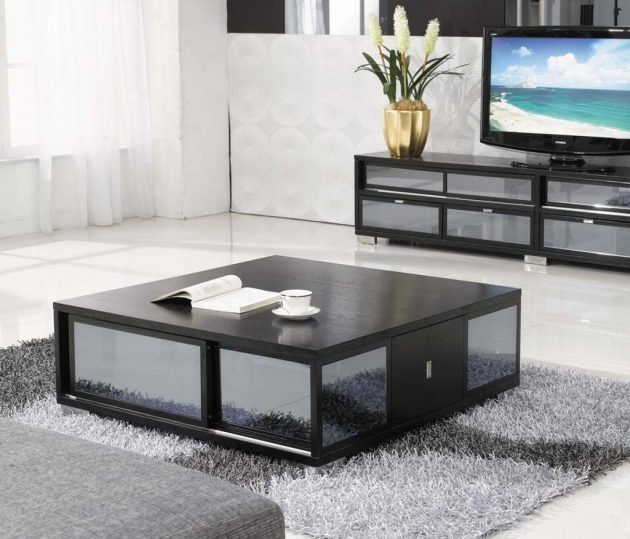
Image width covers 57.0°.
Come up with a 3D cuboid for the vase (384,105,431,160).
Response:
[{"bbox_3d":[0.824,-1.251,5.339,0.480,0.470,0.466,0,9,5],"label":"vase"}]

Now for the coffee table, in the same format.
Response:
[{"bbox_3d":[0.095,0.327,2.389,1.126,0.320,1.054,8,14,38],"label":"coffee table"}]

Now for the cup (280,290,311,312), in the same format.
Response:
[{"bbox_3d":[-0.082,0.122,2.280,0.100,0.075,0.129,-5,15,-19],"label":"cup"}]
